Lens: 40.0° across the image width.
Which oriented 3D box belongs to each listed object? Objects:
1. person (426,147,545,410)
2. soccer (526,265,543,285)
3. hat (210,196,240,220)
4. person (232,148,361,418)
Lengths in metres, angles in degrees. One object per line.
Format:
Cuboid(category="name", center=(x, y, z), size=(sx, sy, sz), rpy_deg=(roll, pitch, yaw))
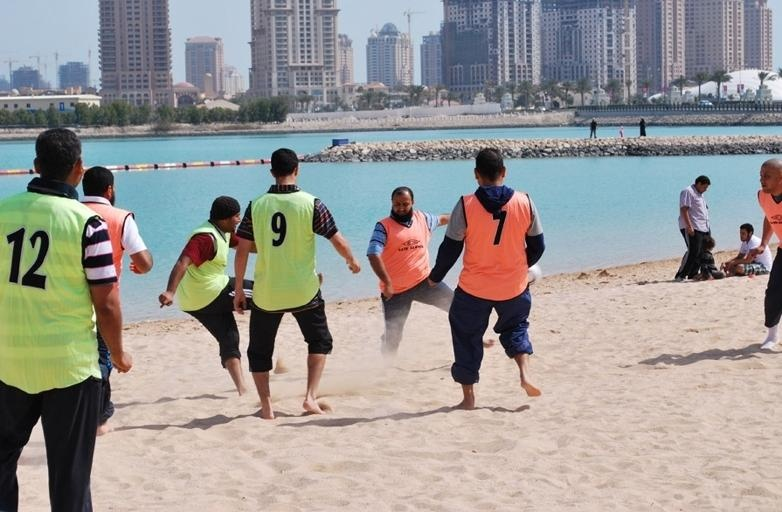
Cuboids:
Cuboid(category="person", center=(1.025, 0.280, 11.215), size=(1.128, 2.780, 0.396), rpy_deg=(-2, 13, 6))
Cuboid(category="soccer", center=(1.540, 0.206, 11.574), size=(0.221, 0.226, 0.266), rpy_deg=(-1, 1, 9))
Cuboid(category="hat", center=(-1.825, -0.537, 11.692), size=(0.288, 0.206, 0.269), rpy_deg=(-10, 15, 2))
Cuboid(category="person", center=(-1.060, 0.305, 11.250), size=(1.177, 2.876, 0.525), rpy_deg=(-5, 13, -9))
